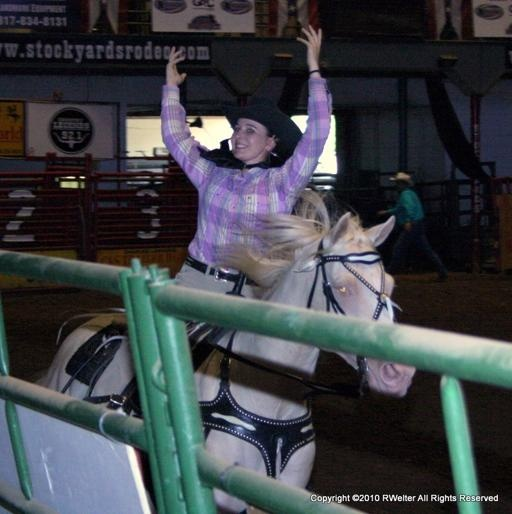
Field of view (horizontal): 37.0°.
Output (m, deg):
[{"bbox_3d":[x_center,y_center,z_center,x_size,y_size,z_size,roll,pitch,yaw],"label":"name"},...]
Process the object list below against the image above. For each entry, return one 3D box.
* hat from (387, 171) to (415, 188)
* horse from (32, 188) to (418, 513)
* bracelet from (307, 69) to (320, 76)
[{"bbox_3d":[2.019,-1.055,10.544,0.278,0.195,0.549,2,6,10],"label":"hat"},{"bbox_3d":[-0.067,0.294,2.654,1.387,0.925,0.763,6,8,44],"label":"horse"},{"bbox_3d":[0.222,-0.717,2.937,0.037,0.014,0.032,-8,-5,-1],"label":"bracelet"}]
